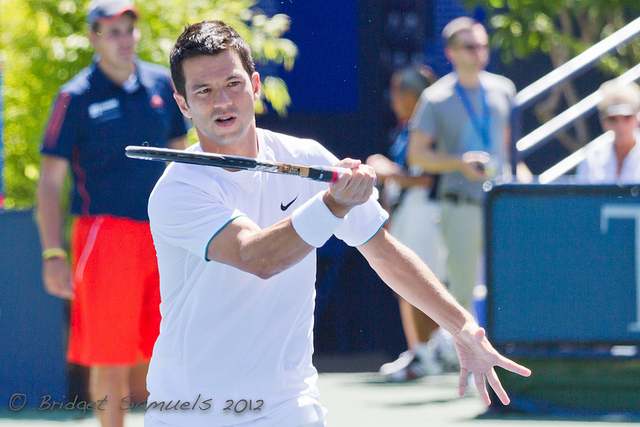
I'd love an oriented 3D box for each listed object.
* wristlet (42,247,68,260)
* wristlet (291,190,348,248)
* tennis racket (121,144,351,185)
[{"bbox_3d":[-1.631,0.238,6.894,0.171,0.076,0.052,-4,5,18],"label":"wristlet"},{"bbox_3d":[-0.012,0.039,5.293,0.211,0.213,0.221,-20,-26,-11],"label":"wristlet"},{"bbox_3d":[-0.413,-0.243,5.537,1.023,0.083,0.135,8,-8,-12],"label":"tennis racket"}]
